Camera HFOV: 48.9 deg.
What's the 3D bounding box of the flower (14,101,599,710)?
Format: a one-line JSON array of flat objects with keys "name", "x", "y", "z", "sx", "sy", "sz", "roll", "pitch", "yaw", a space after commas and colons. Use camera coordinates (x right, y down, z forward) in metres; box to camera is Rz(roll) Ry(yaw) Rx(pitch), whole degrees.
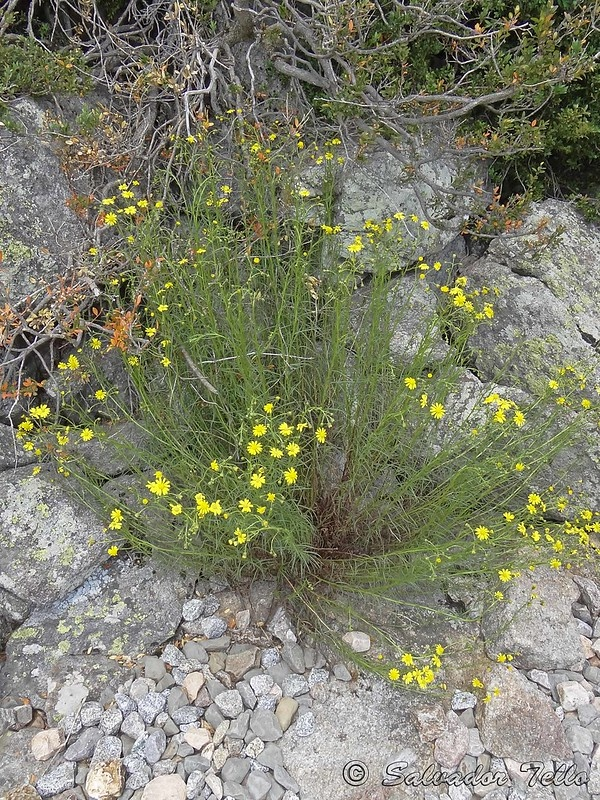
[{"name": "flower", "x": -0.015, "y": -0.011, "z": 2.598, "sx": 2.078, "sy": 1.277, "sz": 1.659, "roll": 40, "pitch": 63, "yaw": 17}]
